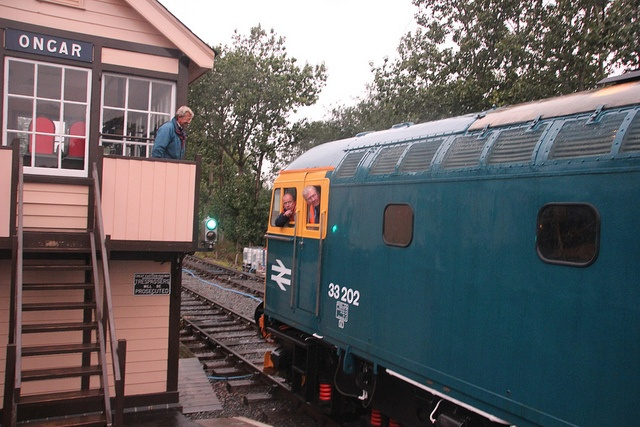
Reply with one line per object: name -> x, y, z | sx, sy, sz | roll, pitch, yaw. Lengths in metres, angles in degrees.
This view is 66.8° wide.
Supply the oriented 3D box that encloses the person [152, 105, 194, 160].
person -> -2.751, -1.522, 9.037 | 0.656, 1.069, 0.621 | 2, 1, -20
